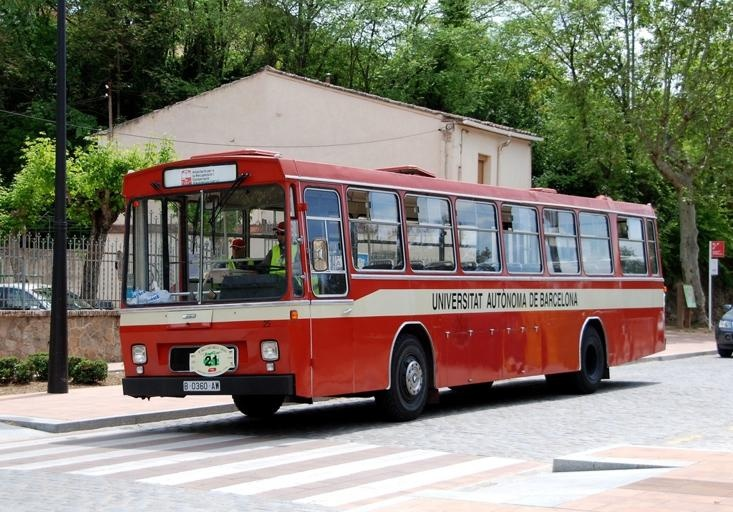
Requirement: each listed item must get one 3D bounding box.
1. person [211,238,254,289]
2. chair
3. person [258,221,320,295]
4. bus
[{"bbox_3d":[-2.182,0.080,13.280,0.574,0.908,0.866,-7,-8,38],"label":"person"},{"bbox_3d":[2.718,0.200,16.094,3.940,0.486,0.387,0,0,4],"label":"chair"},{"bbox_3d":[-1.311,0.035,12.824,0.669,1.220,0.937,3,-8,-41],"label":"person"},{"bbox_3d":[1.902,0.633,17.752,4.414,4.904,14.516,-3,-5,41],"label":"bus"}]
